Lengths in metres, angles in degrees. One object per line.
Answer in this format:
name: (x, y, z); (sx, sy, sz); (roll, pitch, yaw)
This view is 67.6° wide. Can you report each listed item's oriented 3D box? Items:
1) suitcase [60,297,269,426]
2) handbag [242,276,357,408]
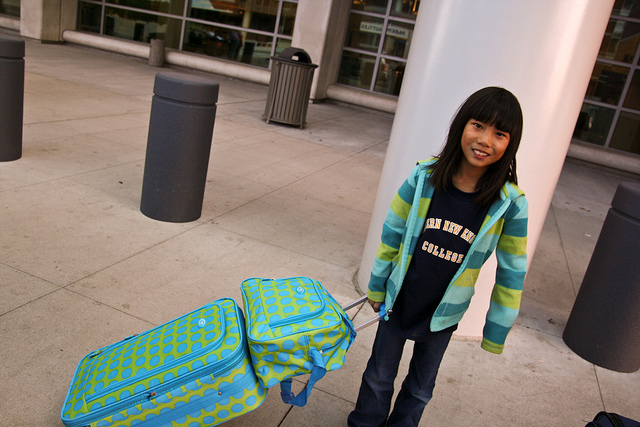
suitcase: (-1.086, 1.060, 3.118); (1.277, 0.493, 0.827); (-21, 44, 4)
handbag: (-0.105, 0.936, 3.284); (0.839, 0.476, 0.821); (-5, 37, -13)
